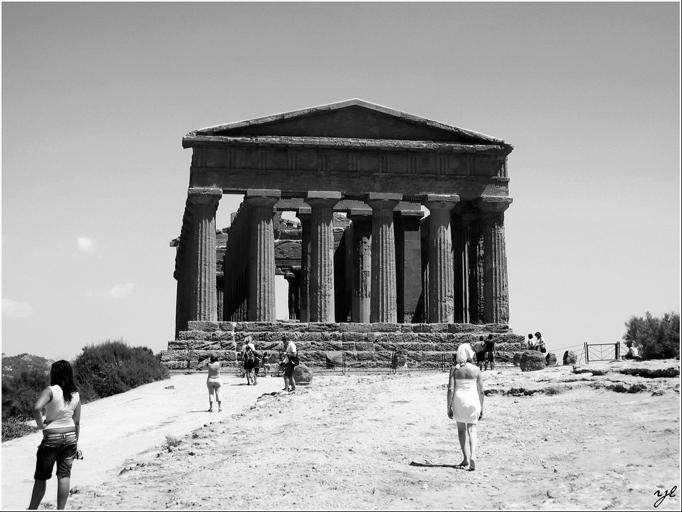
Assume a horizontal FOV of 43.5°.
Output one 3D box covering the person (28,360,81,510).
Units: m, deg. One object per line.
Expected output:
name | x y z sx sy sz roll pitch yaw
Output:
person | -5.101 3.240 15.308 0.866 2.780 1.372 -2 2 -18
